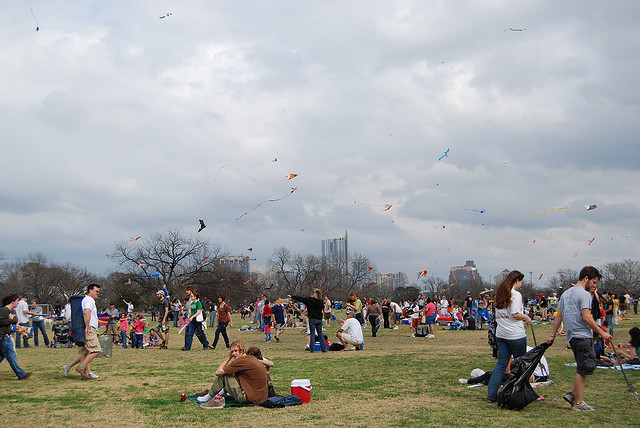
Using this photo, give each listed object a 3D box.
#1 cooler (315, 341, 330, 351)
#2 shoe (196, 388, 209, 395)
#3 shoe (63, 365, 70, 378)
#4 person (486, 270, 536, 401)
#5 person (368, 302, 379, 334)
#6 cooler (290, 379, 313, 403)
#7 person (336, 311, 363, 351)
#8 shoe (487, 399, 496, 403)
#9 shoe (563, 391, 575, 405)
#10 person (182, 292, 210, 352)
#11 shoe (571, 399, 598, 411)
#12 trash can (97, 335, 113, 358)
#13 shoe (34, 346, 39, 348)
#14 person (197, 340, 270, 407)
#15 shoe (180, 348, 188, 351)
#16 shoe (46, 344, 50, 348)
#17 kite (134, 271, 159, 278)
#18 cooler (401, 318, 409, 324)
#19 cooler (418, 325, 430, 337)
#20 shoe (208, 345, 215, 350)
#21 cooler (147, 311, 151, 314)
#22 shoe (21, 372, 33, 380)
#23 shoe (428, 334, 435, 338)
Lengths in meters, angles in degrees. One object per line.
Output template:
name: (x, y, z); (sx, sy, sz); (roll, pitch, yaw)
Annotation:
cooler: (0.057, 4.927, 20.013); (0.444, 0.361, 0.297); (0, -4, -12)
shoe: (-2.924, 4.406, 13.253); (0.299, 0.095, 0.584); (1, -10, -15)
shoe: (-7.086, 4.388, 14.942); (0.164, 0.336, 0.116); (-8, 1, -5)
person: (4.385, 2.848, 12.519); (1.026, 2.971, 0.611); (-6, -10, 23)
person: (2.651, 4.996, 26.245); (0.454, 1.374, 0.622); (-8, -11, 34)
cooler: (-0.465, 4.203, 12.821); (0.473, 0.472, 0.515); (-1, -6, 2)
person: (1.143, 4.412, 20.317); (0.935, 1.472, 1.047); (-7, -17, 29)
shoe: (4.006, 4.403, 12.612); (0.128, 0.051, 0.046); (1, 2, 10)
shoe: (5.681, 4.209, 12.259); (0.219, 0.297, 0.241); (-4, -10, 14)
person: (-4.859, 4.130, 20.762); (0.948, 2.223, 1.301); (0, -10, -14)
shoe: (5.907, 4.304, 12.110); (0.636, 0.256, 0.216); (1, -3, 0)
trash can: (-7.577, 4.645, 18.821); (0.477, 0.715, 0.898); (2, -10, -22)
shoe: (-12.115, 5.644, 22.758); (0.183, 0.120, 0.060); (-5, -5, 17)
person: (-2.106, 3.962, 13.241); (1.837, 1.440, 0.947); (-2, -12, 19)
shoe: (-5.283, 5.208, 20.646); (0.216, 0.088, 0.080); (12, -15, 32)
shoe: (-11.809, 5.708, 23.223); (0.144, 0.064, 0.183); (1, 0, -2)
kite: (-17.283, 6.087, 53.459); (1.733, 0.614, 3.374); (0, -9, -8)
cooler: (5.781, 7.324, 36.557); (0.383, 0.265, 0.372); (3, -6, -2)
cooler: (5.032, 5.691, 26.058); (0.546, 0.394, 0.533); (0, -3, 9)
shoe: (-4.300, 5.223, 20.978); (0.296, 0.109, 0.089); (20, -13, -11)
cooler: (-21.241, 12.136, 66.113); (0.239, 0.296, 0.460); (-1, -4, 1)
shoe: (-8.154, 4.469, 14.828); (0.235, 0.180, 0.302); (3, -11, -28)
shoe: (5.171, 5.684, 25.067); (0.266, 0.155, 0.629); (-3, -9, 8)
